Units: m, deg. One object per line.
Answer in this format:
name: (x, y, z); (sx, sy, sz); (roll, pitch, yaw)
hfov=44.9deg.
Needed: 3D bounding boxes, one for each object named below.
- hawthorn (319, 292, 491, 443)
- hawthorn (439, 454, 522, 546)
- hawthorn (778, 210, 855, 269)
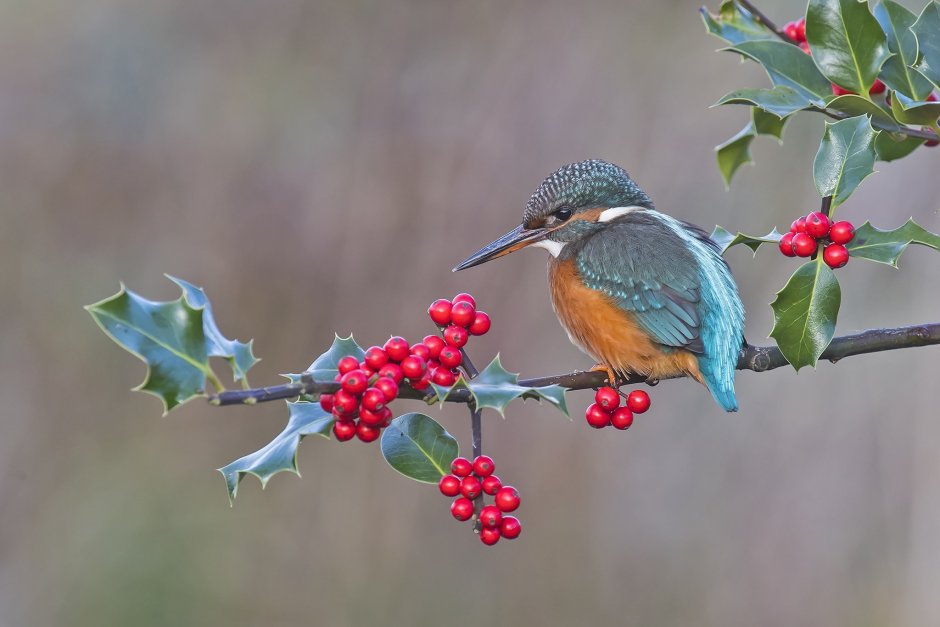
hawthorn: (-0.241, 0.196, 4.143); (0.805, 0.381, 0.293); (-36, -6, -17)
hawthorn: (0.047, 0.656, 4.046); (0.274, 0.313, 0.214); (8, -25, -43)
hawthorn: (1.279, -0.271, 4.180); (0.270, 0.206, 0.112); (-17, -19, 19)
